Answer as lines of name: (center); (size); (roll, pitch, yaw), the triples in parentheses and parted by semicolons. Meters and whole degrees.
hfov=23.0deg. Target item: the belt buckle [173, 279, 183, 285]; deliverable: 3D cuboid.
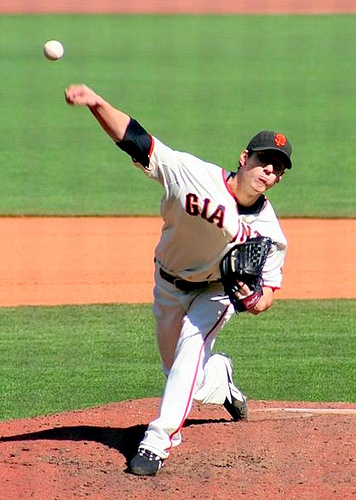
belt buckle: (0.000, 0.178, 5.087); (0.041, 0.038, 0.010); (-3, -2, 6)

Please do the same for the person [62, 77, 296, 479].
person: (0.043, 0.116, 4.902); (0.673, 2.062, 1.212); (12, 19, 38)

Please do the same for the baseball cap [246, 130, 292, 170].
baseball cap: (0.523, -0.568, 5.004); (0.256, 0.225, 0.225); (1, 15, 2)

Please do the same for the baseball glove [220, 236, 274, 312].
baseball glove: (0.395, 0.132, 4.931); (0.361, 0.420, 0.173); (-12, 19, -39)

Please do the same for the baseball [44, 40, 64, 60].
baseball: (-0.792, -1.280, 5.583); (0.125, 0.121, 0.073); (-6, 16, -11)
